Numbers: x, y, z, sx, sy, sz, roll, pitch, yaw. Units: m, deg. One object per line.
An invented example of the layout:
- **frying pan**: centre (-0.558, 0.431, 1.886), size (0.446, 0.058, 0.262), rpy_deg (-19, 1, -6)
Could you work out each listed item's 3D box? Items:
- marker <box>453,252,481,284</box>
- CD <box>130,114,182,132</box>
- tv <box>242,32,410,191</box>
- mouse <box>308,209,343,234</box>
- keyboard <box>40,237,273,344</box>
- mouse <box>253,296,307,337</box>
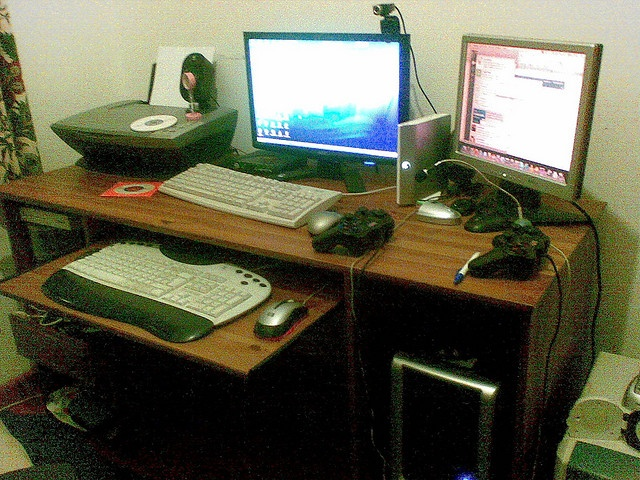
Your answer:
- **marker**: centre (0.331, 0.066, 1.195), size (0.129, 0.018, 0.018), rpy_deg (-29, 67, -34)
- **CD**: centre (-0.544, -0.375, 1.721), size (0.115, 0.006, 0.088), rpy_deg (7, 30, 11)
- **tv**: centre (0.032, -0.398, 1.621), size (0.703, 0.396, 0.194), rpy_deg (10, 28, 24)
- **mouse**: centre (0.013, -0.042, 1.369), size (0.088, 0.055, 0.087), rpy_deg (-8, 27, -17)
- **keyboard**: centre (-0.444, 0.124, 1.392), size (0.568, 0.070, 0.301), rpy_deg (13, 26, 27)
- **mouse**: centre (-0.093, 0.181, 1.242), size (0.078, 0.029, 0.114), rpy_deg (17, 33, 33)
